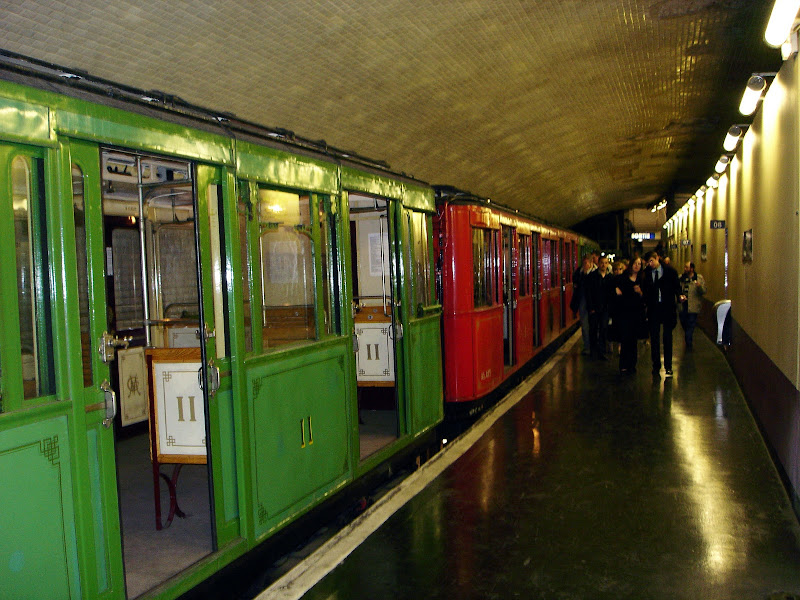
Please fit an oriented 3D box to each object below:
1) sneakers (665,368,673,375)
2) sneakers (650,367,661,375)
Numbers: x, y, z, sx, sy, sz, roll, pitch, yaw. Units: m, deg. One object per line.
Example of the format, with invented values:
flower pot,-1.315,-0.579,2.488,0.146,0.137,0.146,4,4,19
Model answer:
sneakers,5.171,1.387,12.472,0.119,0.043,0.116,-9,9,-43
sneakers,4.965,1.389,12.594,0.108,0.214,0.209,2,1,28
